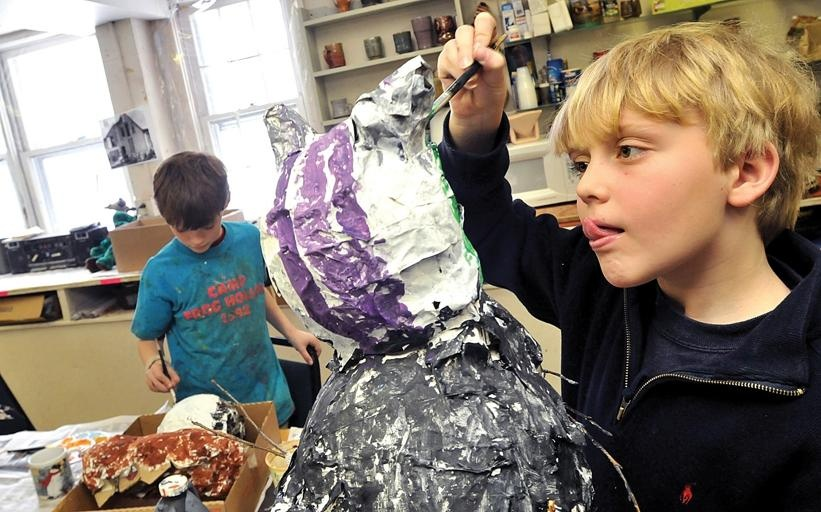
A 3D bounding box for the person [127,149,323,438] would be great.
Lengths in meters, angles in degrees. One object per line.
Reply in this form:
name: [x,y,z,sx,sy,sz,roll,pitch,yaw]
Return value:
person: [-0.739,0.168,2.554,0.656,1.109,0.369,-20,17,-25]
